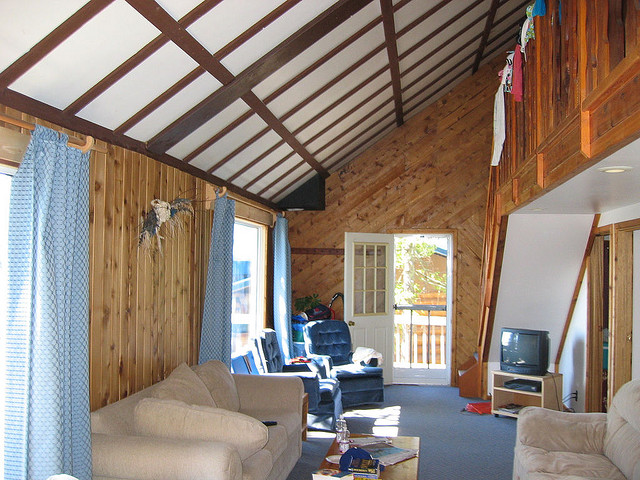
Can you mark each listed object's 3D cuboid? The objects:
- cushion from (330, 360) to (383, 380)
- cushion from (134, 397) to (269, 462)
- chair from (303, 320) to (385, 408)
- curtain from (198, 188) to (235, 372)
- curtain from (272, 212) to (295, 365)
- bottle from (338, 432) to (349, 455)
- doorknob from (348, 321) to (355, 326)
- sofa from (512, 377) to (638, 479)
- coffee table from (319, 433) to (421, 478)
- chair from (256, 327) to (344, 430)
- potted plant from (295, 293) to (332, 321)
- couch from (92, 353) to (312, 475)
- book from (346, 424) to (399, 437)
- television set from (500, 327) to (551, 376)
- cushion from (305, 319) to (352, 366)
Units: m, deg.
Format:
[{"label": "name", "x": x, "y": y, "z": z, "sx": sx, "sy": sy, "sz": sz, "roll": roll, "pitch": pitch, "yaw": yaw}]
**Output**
[{"label": "cushion", "x": 0.405, "y": 1.640, "z": 6.746, "sx": 0.681, "sy": 0.192, "sz": 0.642, "roll": 3, "pitch": -9, "yaw": -13}, {"label": "cushion", "x": -0.797, "y": 1.237, "z": 3.456, "sx": 0.890, "sy": 0.363, "sz": 0.212, "roll": -2, "pitch": -8, "yaw": 14}, {"label": "chair", "x": 0.329, "y": 1.577, "z": 6.788, "sx": 0.862, "sy": 1.191, "sz": 1.071, "roll": 1, "pitch": -17, "yaw": -18}, {"label": "curtain", "x": -1.006, "y": 0.390, "z": 5.359, "sx": 0.175, "sy": 1.799, "sz": 0.520, "roll": -2, "pitch": -8, "yaw": 22}, {"label": "curtain", "x": -0.516, "y": 0.663, "z": 7.422, "sx": 0.144, "sy": 2.159, "sz": 0.366, "roll": 1, "pitch": 9, "yaw": 25}, {"label": "bottle", "x": 0.181, "y": 1.550, "z": 4.071, "sx": 0.081, "sy": 0.152, "sz": 0.155, "roll": 0, "pitch": -8, "yaw": 2}, {"label": "doorknob", "x": 0.442, "y": 1.168, "z": 7.436, "sx": 0.059, "sy": 0.062, "sz": 0.016, "roll": 0, "pitch": 10, "yaw": -25}, {"label": "sofa", "x": 1.930, "y": 1.532, "z": 4.061, "sx": 0.880, "sy": 0.905, "sz": 0.893, "roll": -2, "pitch": -9, "yaw": 18}, {"label": "coffee table", "x": 0.408, "y": 1.642, "z": 4.066, "sx": 0.680, "sy": 0.181, "sz": 0.906, "roll": -1, "pitch": -9, "yaw": 13}, {"label": "chair", "x": -0.229, "y": 1.552, "z": 5.983, "sx": 0.921, "sy": 1.047, "sz": 0.809, "roll": -1, "pitch": -2, "yaw": -1}, {"label": "potted plant", "x": -0.090, "y": 0.984, "z": 7.791, "sx": 0.328, "sy": 0.156, "sz": 0.416, "roll": 1, "pitch": 25, "yaw": -21}, {"label": "couch", "x": -0.804, "y": 1.501, "z": 4.507, "sx": 1.232, "sy": 1.009, "sz": 2.637, "roll": 0, "pitch": -9, "yaw": 7}, {"label": "book", "x": 0.566, "y": 2.030, "z": 5.701, "sx": 0.549, "sy": 0.038, "sz": 0.339, "roll": 0, "pitch": -9, "yaw": 5}, {"label": "television set", "x": 2.441, "y": 1.352, "z": 6.370, "sx": 0.353, "sy": 0.528, "sz": 0.542, "roll": 16, "pitch": -14, "yaw": -41}, {"label": "cushion", "x": 0.085, "y": 1.419, "z": 7.180, "sx": 0.502, "sy": 0.709, "sz": 0.601, "roll": 3, "pitch": -25, "yaw": -15}]
